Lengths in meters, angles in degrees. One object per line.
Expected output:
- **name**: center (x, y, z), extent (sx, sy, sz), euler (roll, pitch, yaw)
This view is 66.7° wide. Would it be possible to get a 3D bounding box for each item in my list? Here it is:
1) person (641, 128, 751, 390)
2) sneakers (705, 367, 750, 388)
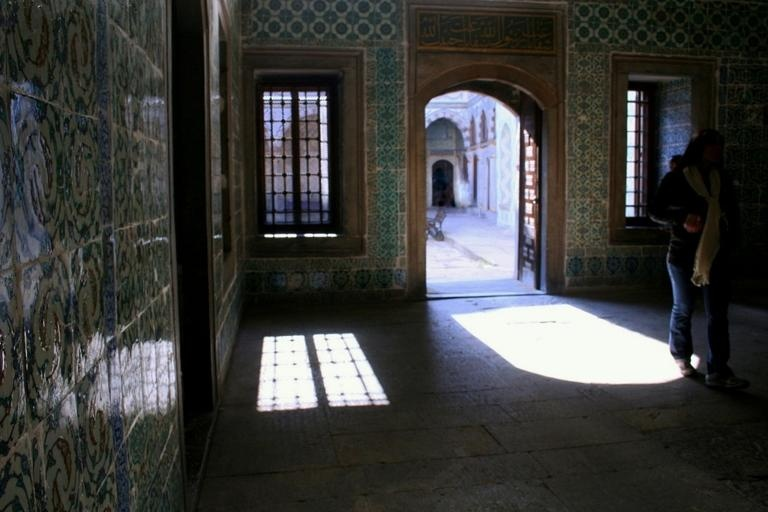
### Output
- **person**: center (2.381, 0.005, 4.355), extent (0.390, 1.868, 0.707), euler (-5, 8, -32)
- **sneakers**: center (2.472, 0.881, 4.208), extent (0.265, 0.126, 0.128), euler (-5, -2, 32)
